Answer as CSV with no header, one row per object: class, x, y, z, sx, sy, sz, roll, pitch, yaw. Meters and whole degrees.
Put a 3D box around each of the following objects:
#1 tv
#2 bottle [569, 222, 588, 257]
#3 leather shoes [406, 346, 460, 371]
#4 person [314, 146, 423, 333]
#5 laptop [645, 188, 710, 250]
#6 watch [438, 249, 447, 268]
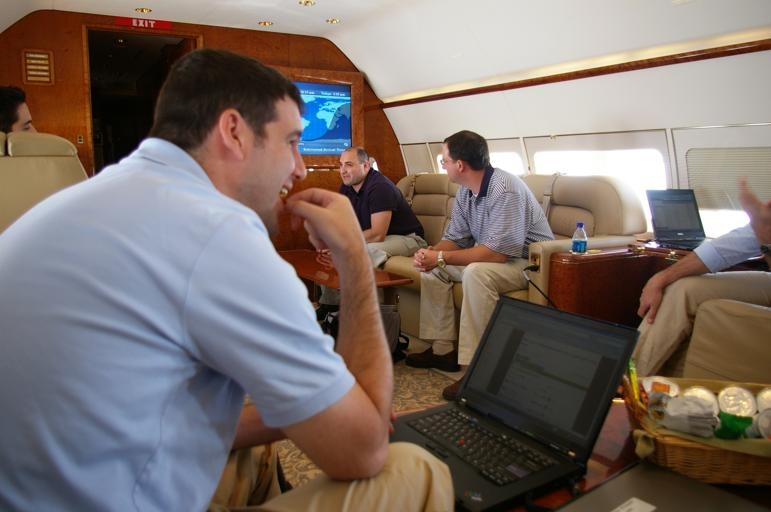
tv,-0.862,-1.860,7.003,0.115,1.047,1.100,15,20,41
bottle,1.322,-0.137,3.489,0.109,0.200,0.314,3,11,22
leather shoes,0.368,0.791,3.987,0.389,0.158,0.157,6,-8,8
person,-0.164,-0.187,5.177,1.246,1.826,0.769,-8,2,-39
laptop,2.161,-0.277,3.588,0.548,0.373,0.484,-6,11,-33
watch,0.419,0.029,3.849,0.067,0.109,0.101,1,32,8
